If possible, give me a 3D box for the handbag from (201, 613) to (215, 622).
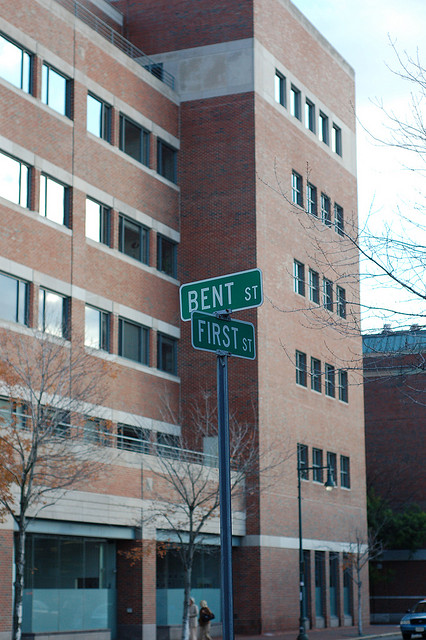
[{"bbox_3d":[-0.074,9.394,34.706,0.291,0.272,0.672,-10,-18,24],"label":"handbag"}]
